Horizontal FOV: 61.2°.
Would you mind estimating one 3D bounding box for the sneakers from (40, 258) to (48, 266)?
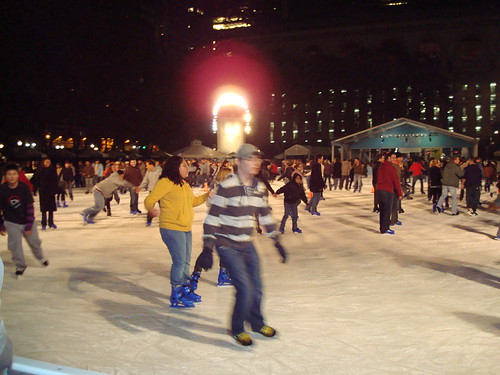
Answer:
[{"bbox_3d":[-3.924,1.417,8.074,0.158,0.147,0.156,3,5,1],"label":"sneakers"}]

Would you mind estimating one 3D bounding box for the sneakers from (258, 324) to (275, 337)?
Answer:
[{"bbox_3d":[0.197,1.656,4.911,0.202,0.112,0.089,11,6,0],"label":"sneakers"}]

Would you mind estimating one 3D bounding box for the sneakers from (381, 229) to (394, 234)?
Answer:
[{"bbox_3d":[3.743,1.204,11.467,0.230,0.099,0.174,0,-1,27],"label":"sneakers"}]

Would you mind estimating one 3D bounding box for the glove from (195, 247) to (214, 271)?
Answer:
[{"bbox_3d":[-0.508,0.782,4.683,0.130,0.287,0.221,-1,4,-22],"label":"glove"}]

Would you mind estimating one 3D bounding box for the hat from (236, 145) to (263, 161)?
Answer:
[{"bbox_3d":[-0.014,-0.391,4.644,0.220,0.116,0.165,-8,11,-9],"label":"hat"}]

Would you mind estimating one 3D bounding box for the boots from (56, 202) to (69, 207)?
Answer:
[{"bbox_3d":[-8.604,0.812,19.308,0.305,0.146,0.352,2,-6,13],"label":"boots"}]

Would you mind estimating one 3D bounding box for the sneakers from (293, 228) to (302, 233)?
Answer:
[{"bbox_3d":[1.310,1.210,11.881,0.238,0.115,0.126,-10,-9,40],"label":"sneakers"}]

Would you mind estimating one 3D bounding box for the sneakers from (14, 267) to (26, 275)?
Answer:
[{"bbox_3d":[-4.018,1.466,7.358,0.094,0.121,0.179,2,-16,-31],"label":"sneakers"}]

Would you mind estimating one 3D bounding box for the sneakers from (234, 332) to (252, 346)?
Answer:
[{"bbox_3d":[-0.087,1.672,4.731,0.199,0.098,0.118,17,18,41],"label":"sneakers"}]
